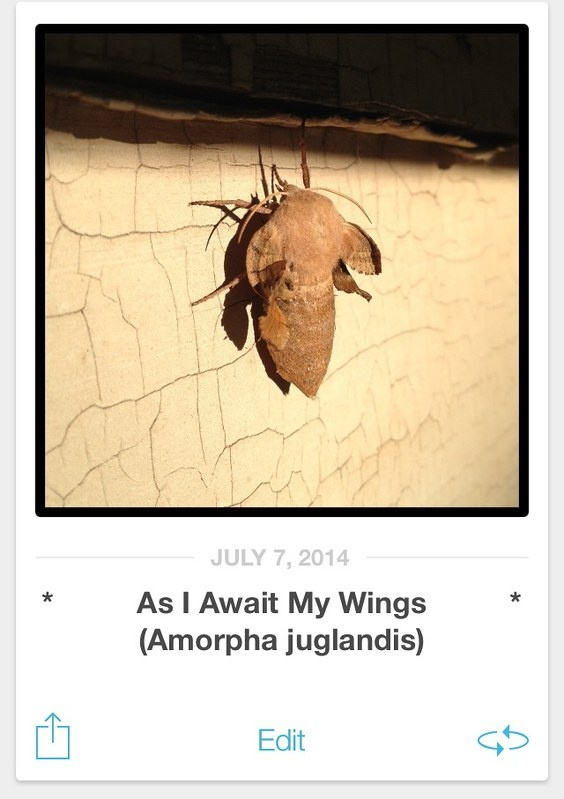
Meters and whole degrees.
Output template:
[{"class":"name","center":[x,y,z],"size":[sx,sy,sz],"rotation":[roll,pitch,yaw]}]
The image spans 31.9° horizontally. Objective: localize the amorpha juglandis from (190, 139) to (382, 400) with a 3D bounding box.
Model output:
[{"class":"amorpha juglandis","center":[0.024,-0.137,1.114],"size":[0.166,0.275,0.071],"rotation":[-4,1,-21]}]
